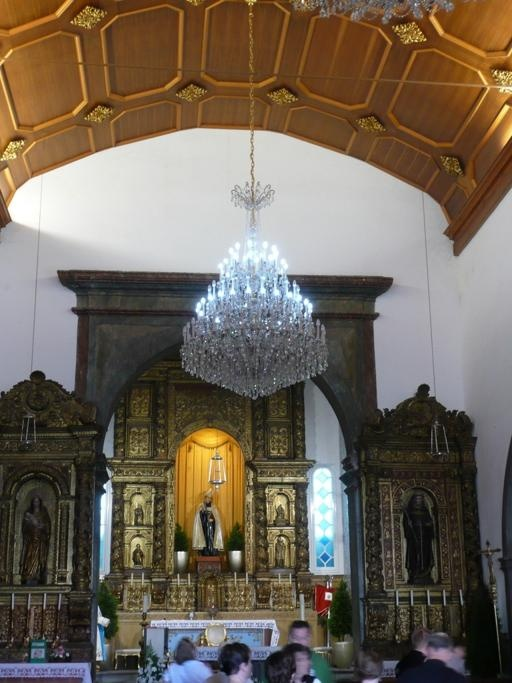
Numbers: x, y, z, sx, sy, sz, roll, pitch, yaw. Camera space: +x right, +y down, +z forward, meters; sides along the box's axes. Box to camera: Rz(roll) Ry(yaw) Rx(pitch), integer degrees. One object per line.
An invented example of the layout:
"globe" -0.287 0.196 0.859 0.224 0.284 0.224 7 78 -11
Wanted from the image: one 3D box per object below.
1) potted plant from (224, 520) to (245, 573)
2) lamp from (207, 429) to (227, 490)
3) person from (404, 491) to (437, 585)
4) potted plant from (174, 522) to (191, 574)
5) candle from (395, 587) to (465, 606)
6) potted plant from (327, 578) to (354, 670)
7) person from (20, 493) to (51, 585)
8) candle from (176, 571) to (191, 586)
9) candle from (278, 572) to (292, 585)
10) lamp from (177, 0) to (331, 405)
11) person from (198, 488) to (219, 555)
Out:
"potted plant" -0.360 4.019 13.358 0.388 0.889 0.361 -8 -18 23
"lamp" -0.803 2.489 14.226 0.397 1.081 0.843 0 -18 -4
"person" 2.112 2.510 8.798 0.444 1.160 0.203 -5 -18 10
"potted plant" -1.464 4.002 13.212 0.248 0.897 0.262 0 -18 -7
"candle" 2.138 3.161 8.409 0.894 0.229 0.237 0 -18 -6
"potted plant" 1.405 4.604 11.057 0.428 1.146 0.406 -2 -18 10
"person" -2.703 2.450 8.395 0.317 0.988 0.162 4 -19 -17
"candle" -1.351 4.448 12.833 0.243 0.170 0.239 -2 -5 8
"candle" 0.546 4.459 12.845 0.251 0.222 0.168 -3 -18 5
"lamp" -0.068 -1.520 7.832 1.517 4.319 2.385 -3 -18 5
"person" -0.915 3.596 13.471 0.451 1.197 0.249 -1 -18 -3
